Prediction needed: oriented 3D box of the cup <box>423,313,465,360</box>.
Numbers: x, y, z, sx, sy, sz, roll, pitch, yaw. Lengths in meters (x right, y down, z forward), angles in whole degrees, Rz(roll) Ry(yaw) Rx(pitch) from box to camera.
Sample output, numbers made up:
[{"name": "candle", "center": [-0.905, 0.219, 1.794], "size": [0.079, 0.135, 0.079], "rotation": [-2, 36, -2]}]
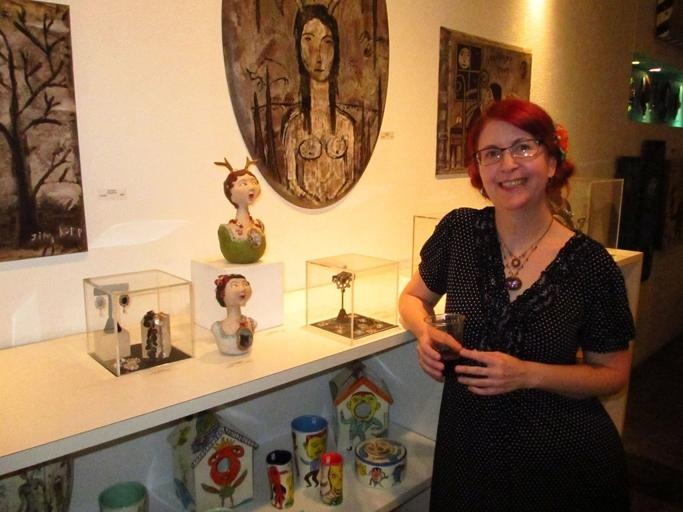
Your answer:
[{"name": "cup", "center": [0.288, 0.209, 1.462], "size": [0.108, 0.127, 0.113], "rotation": [-1, 3, 0]}]

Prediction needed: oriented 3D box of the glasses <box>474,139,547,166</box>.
[{"name": "glasses", "center": [0.489, -0.306, 1.563], "size": [0.180, 0.070, 0.058], "rotation": [-1, 8, 20]}]
